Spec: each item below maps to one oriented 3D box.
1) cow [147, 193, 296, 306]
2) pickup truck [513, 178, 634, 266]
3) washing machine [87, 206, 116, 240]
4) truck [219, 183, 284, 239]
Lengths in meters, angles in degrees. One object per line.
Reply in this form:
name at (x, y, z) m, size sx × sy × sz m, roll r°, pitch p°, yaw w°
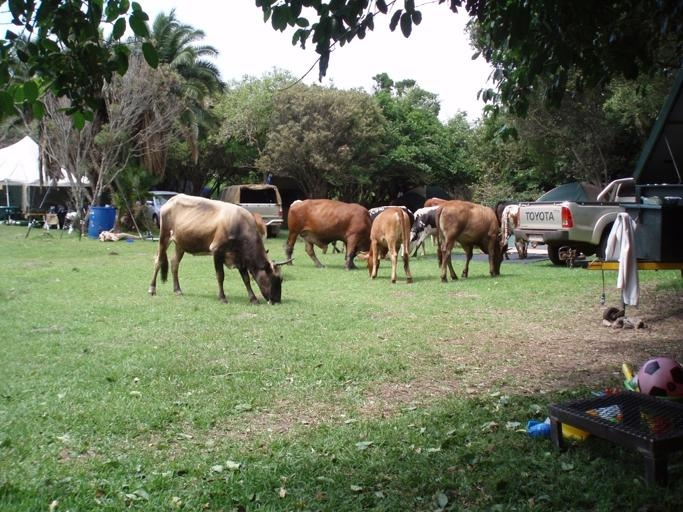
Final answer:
cow at (-2.516, -0.153, 11.007) m, size 2.790 × 2.131 × 0.629 m, roll 2°, pitch 3°, yaw 16°
pickup truck at (6.214, -1.129, 16.000) m, size 3.884 × 1.888 × 2.033 m, roll 9°, pitch 7°, yaw 39°
washing machine at (-11.384, -1.573, 25.870) m, size 1.344 × 1.587 × 1.361 m, roll 2°, pitch 2°, yaw -17°
truck at (-3.565, -2.590, 25.720) m, size 2.965 × 3.289 × 3.251 m, roll -3°, pitch 7°, yaw -19°
